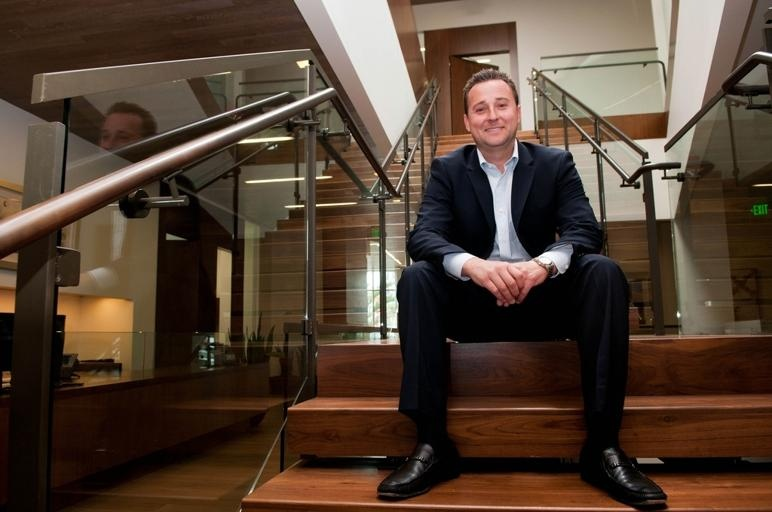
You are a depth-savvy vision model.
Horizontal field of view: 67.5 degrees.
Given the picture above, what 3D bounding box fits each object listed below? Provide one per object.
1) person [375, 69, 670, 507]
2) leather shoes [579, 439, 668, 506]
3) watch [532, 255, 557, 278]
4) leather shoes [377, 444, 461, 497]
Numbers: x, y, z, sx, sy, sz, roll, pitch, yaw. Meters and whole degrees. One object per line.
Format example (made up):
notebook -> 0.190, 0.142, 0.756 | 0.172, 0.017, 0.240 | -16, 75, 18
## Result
person -> 0.416, -0.017, 1.882 | 0.752, 1.455, 0.631 | -4, -7, 17
leather shoes -> 0.655, 0.615, 1.615 | 0.103, 0.138, 0.228 | 1, -6, -26
watch -> 0.528, 0.033, 1.923 | 0.089, 0.053, 0.077 | 14, -44, 17
leather shoes -> 0.108, 0.628, 1.708 | 0.095, 0.090, 0.268 | -14, -9, 40
